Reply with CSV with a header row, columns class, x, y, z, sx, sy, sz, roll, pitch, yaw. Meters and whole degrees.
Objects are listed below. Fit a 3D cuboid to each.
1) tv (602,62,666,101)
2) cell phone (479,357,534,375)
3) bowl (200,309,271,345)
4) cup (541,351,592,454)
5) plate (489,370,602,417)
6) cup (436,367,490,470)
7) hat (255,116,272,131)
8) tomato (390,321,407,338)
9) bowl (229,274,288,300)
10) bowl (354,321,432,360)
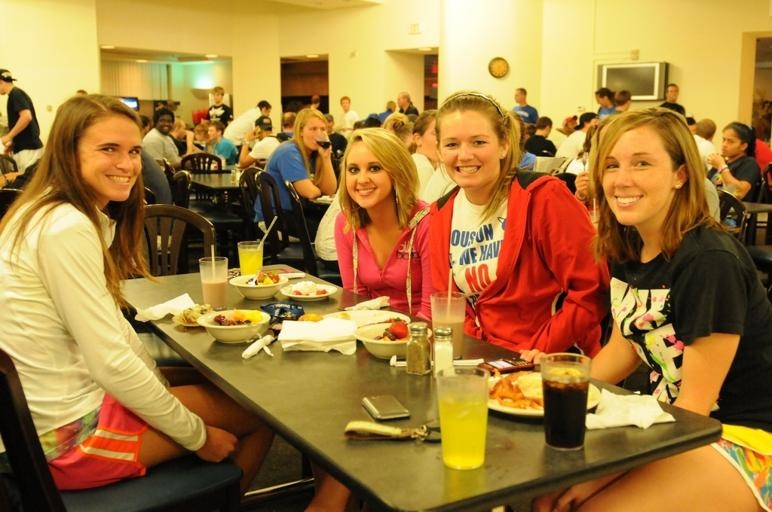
class,x,y,z,sx,sy,sz,roll,pitch,yaw
tv,4.582,-3.174,10.159,1.273,0.716,0.180,16,20,42
cell phone,0.337,0.302,1.552,0.145,0.018,0.083,-3,4,-33
bowl,-0.479,0.231,1.848,0.250,0.073,0.238,4,14,-1
cup,0.400,0.316,1.249,0.102,0.196,0.124,2,13,18
plate,0.353,0.338,1.360,0.165,0.029,0.152,-2,6,-8
cup,0.164,0.334,1.185,0.108,0.191,0.137,-1,13,6
hat,-1.607,-1.729,7.283,0.199,0.141,0.274,-8,15,-34
tomato,0.042,0.223,1.710,0.049,0.048,0.046,-2,-10,2
bowl,-0.531,0.129,2.260,0.139,0.043,0.137,1,10,0
bowl,0.008,0.263,1.719,0.205,0.060,0.207,2,11,0
